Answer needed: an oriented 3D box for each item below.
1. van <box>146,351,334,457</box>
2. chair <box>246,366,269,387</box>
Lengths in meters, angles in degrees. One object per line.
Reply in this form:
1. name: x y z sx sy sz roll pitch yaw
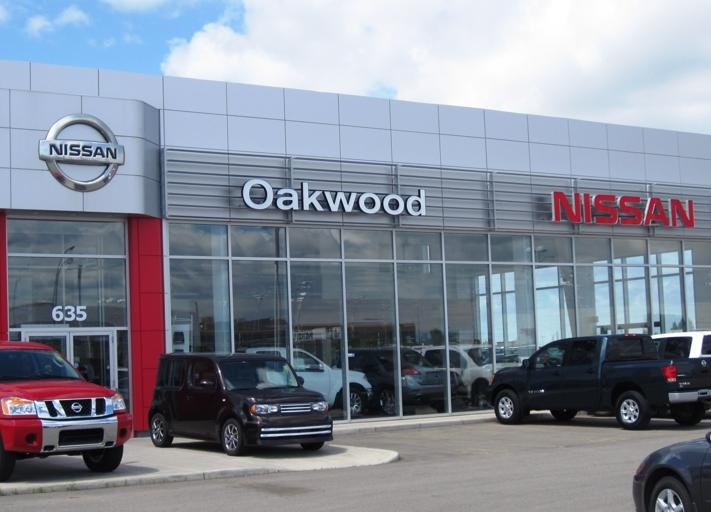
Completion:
1. van: -2.607 3.302 17.427 2.179 1.677 3.733 6 -11 -42
2. chair: -2.193 2.758 17.321 0.337 0.455 0.400 8 -14 -21
